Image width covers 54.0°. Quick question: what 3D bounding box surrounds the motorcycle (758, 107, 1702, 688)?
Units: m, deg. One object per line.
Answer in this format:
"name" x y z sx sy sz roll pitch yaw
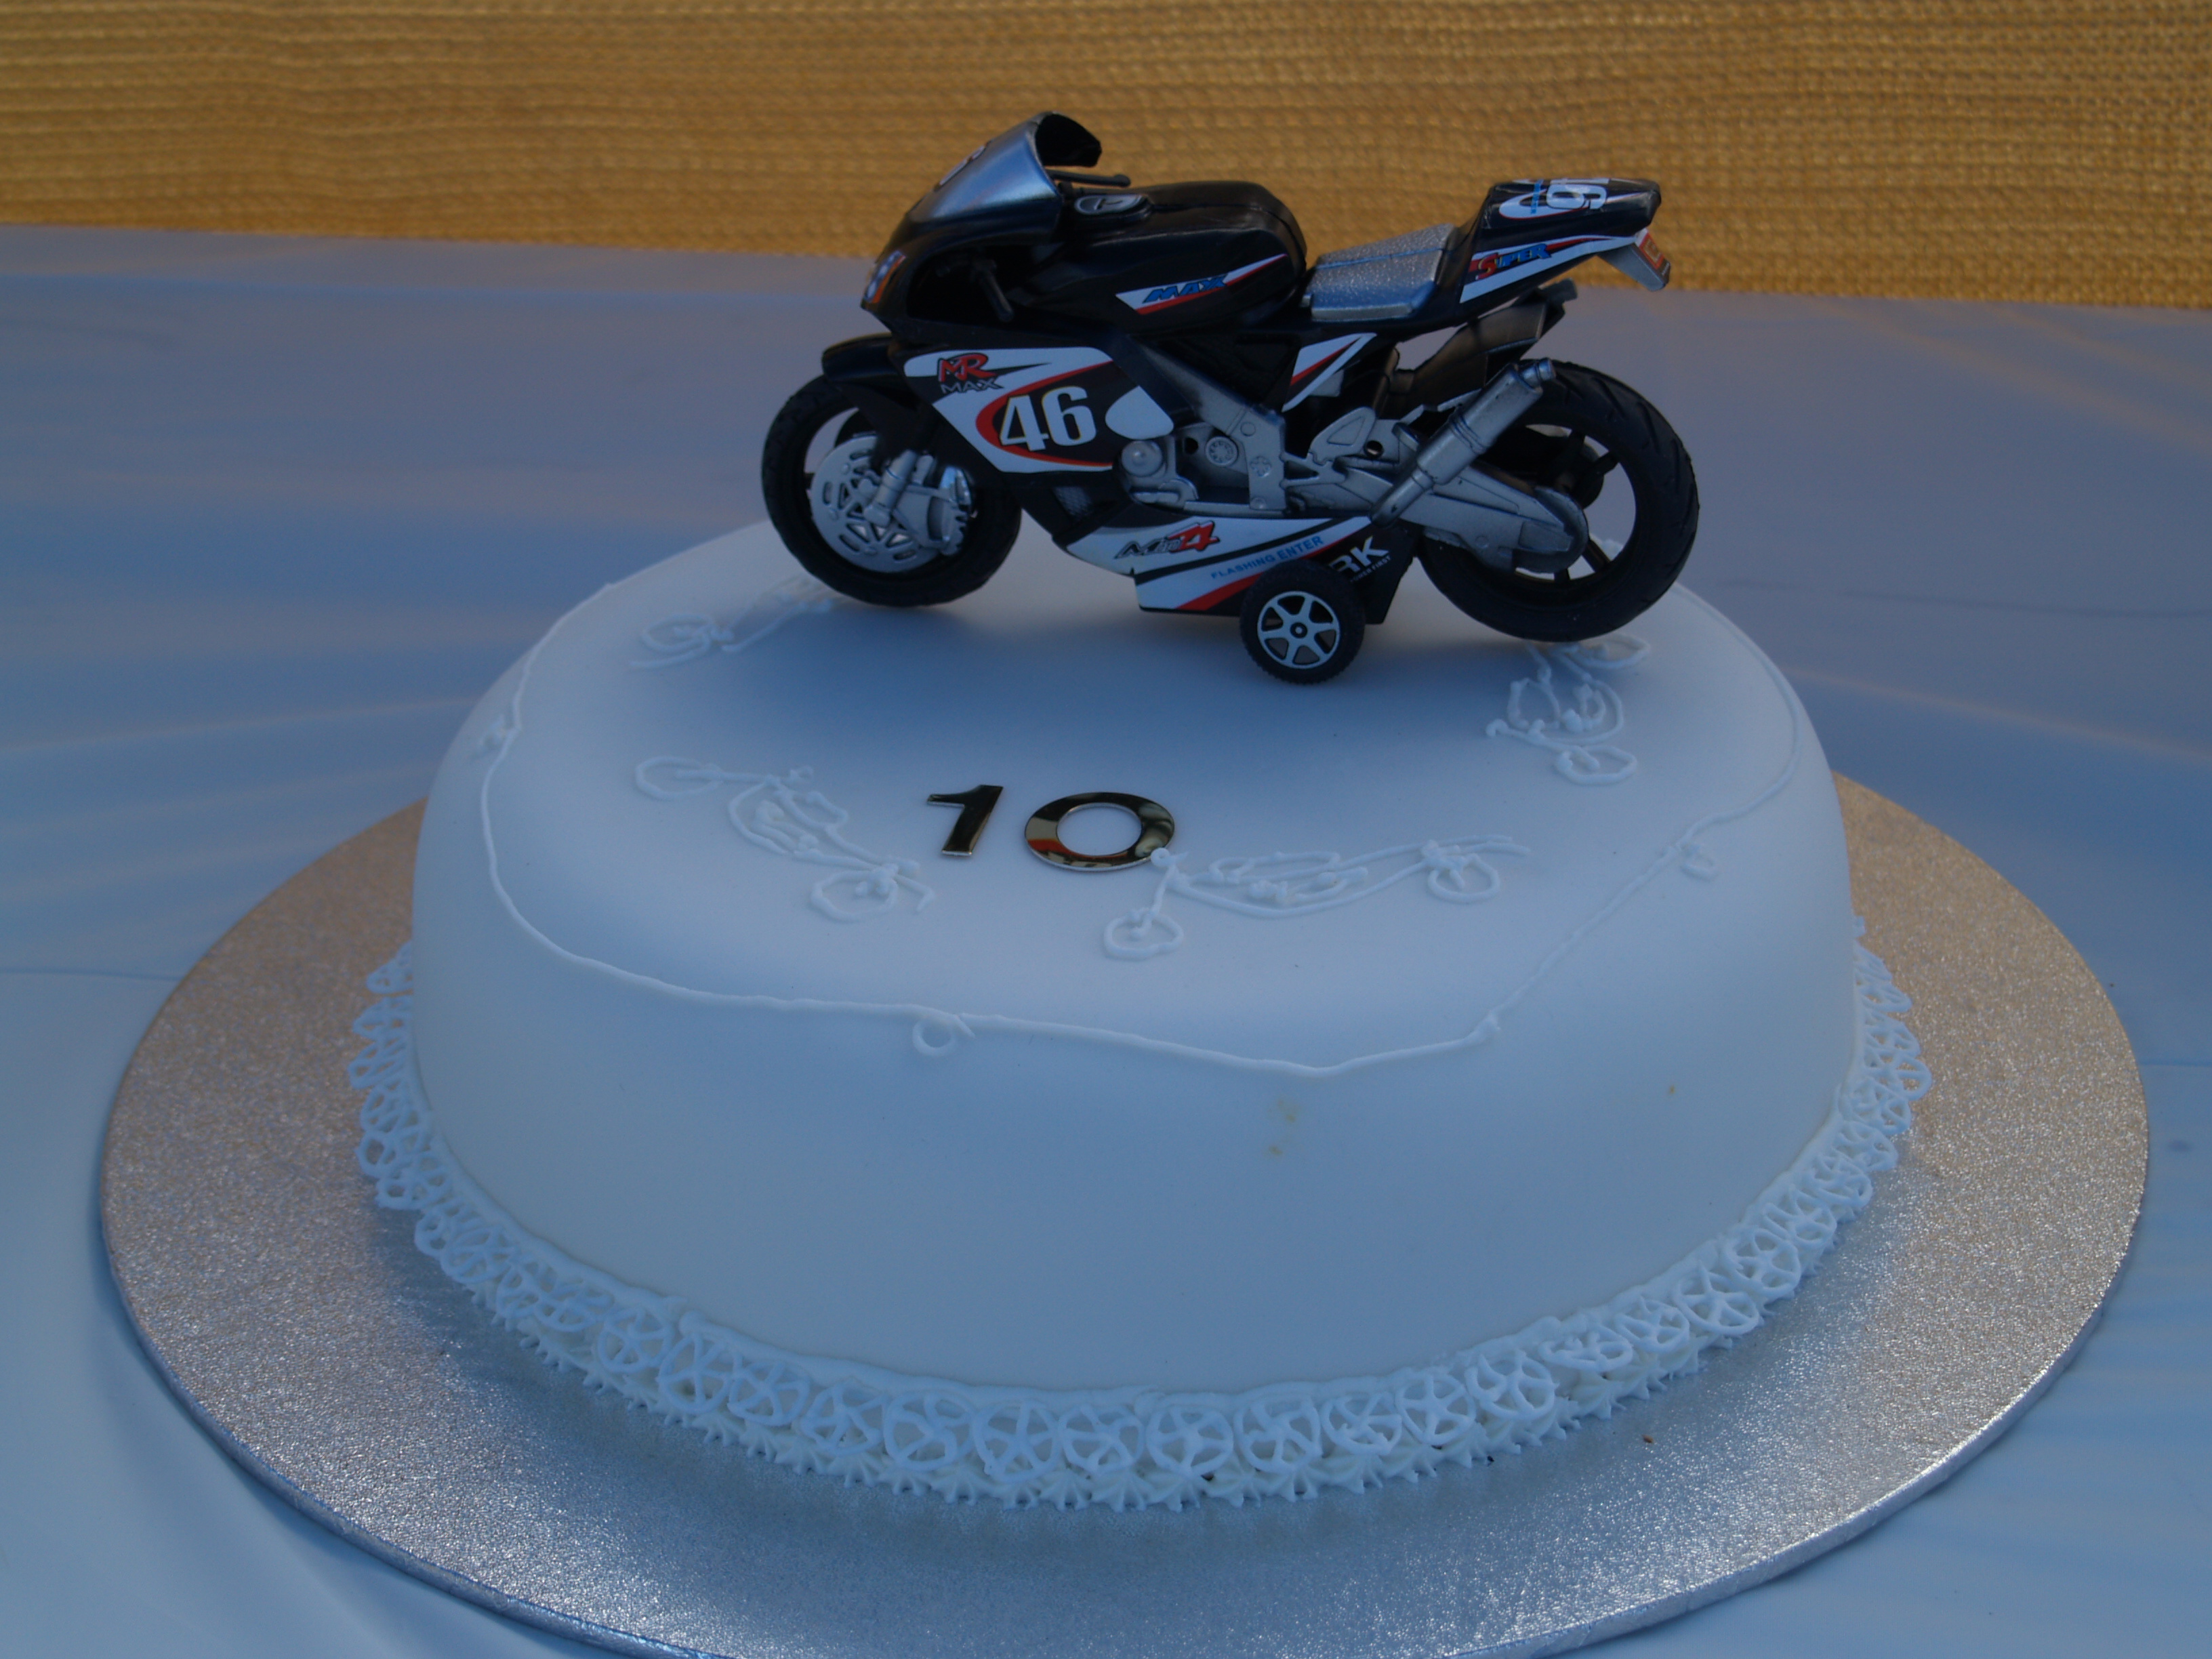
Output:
"motorcycle" 0.217 -0.700 3.736 1.832 0.641 0.525 11 23 33
